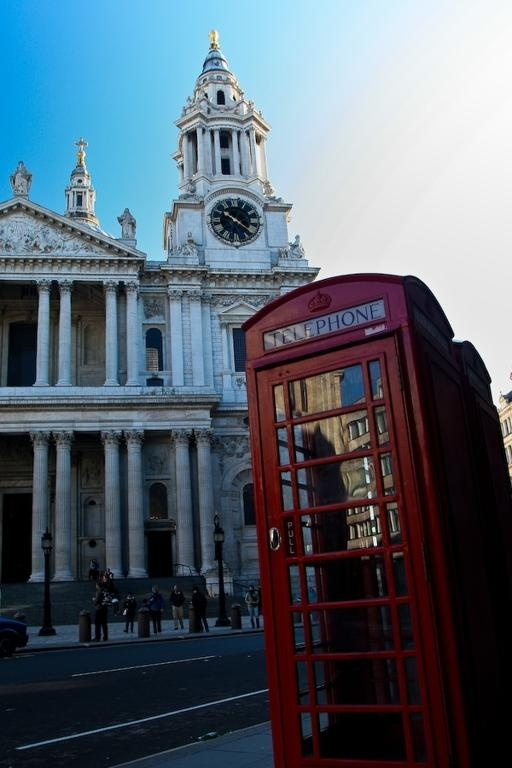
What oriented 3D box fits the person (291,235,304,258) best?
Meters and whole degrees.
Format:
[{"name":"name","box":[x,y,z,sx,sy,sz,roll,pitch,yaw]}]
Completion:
[{"name":"person","box":[2.918,-9.976,46.660,0.722,2.105,0.716,-10,-16,16]}]

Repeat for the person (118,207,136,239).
[{"name":"person","box":[-8.825,-10.946,43.671,0.959,2.678,1.243,-2,-16,-12]}]
